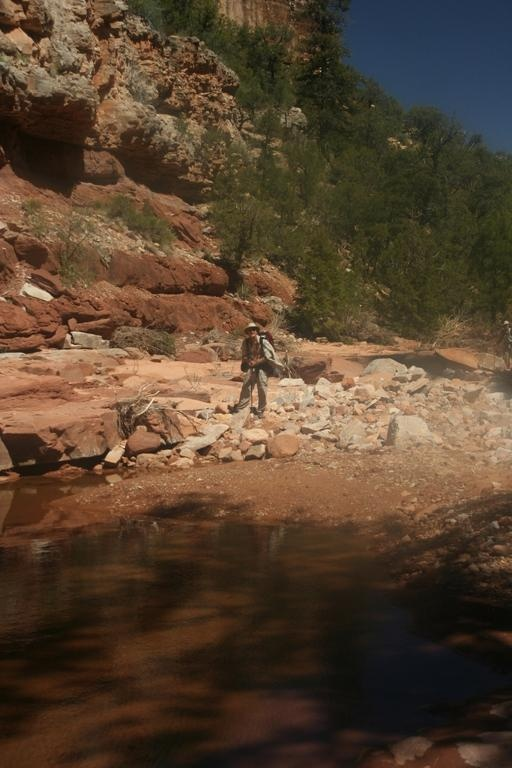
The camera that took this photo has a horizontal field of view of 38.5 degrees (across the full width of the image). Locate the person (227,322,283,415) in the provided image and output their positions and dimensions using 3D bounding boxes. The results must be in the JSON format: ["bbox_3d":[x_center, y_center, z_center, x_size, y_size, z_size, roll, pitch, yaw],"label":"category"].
[{"bbox_3d":[-0.017,-0.186,8.936,0.598,1.084,0.706,-5,7,-2],"label":"person"}]

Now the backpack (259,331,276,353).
[{"bbox_3d":[0.140,-0.539,8.989,0.228,0.264,0.208,-4,-1,14],"label":"backpack"}]

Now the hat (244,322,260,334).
[{"bbox_3d":[-0.076,-0.690,8.986,0.220,0.207,0.056,1,12,-19],"label":"hat"}]
